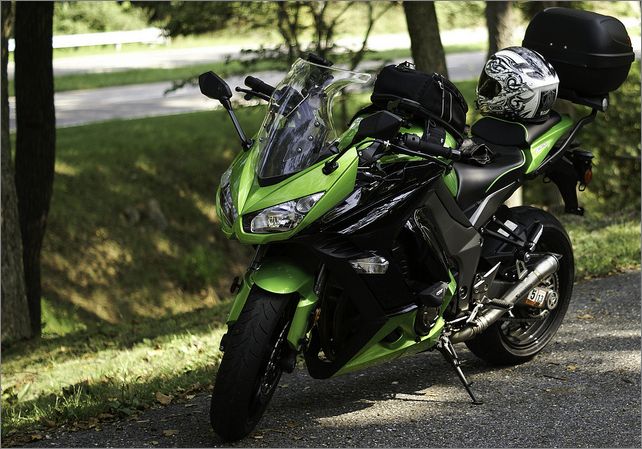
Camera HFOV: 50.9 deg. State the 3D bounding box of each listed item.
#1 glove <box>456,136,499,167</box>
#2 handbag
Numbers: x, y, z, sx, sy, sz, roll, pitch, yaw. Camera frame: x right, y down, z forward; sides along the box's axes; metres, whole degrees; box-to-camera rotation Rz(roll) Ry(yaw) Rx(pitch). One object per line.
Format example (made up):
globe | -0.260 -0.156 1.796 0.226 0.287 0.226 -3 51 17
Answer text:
glove | 1.267 -0.639 5.539 0.328 0.137 0.248 16 4 -42
handbag | 0.721 -1.013 5.626 0.973 0.431 0.926 7 -1 1
